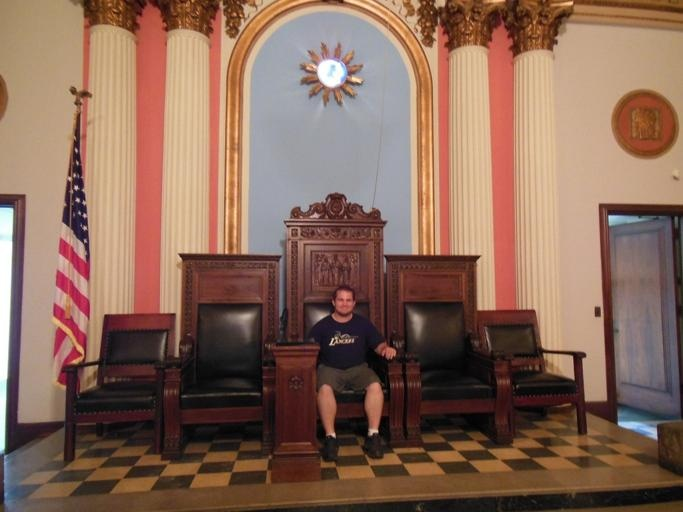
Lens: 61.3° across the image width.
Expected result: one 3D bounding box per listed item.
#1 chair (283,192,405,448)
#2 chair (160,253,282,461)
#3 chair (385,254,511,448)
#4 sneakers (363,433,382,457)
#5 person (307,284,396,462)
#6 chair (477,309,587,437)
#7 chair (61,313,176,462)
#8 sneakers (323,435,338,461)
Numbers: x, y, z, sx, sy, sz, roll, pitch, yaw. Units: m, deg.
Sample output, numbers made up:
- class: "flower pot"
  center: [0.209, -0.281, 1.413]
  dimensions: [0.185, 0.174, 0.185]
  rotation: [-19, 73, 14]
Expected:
- class: "chair"
  center: [-0.011, 0.605, 6.028]
  dimensions: [1.214, 2.489, 0.855]
  rotation: [0, -2, -10]
- class: "chair"
  center: [-1.186, 0.970, 5.879]
  dimensions: [1.082, 1.852, 1.035]
  rotation: [-1, 9, -4]
- class: "chair"
  center: [1.098, 0.910, 6.089]
  dimensions: [1.190, 1.711, 1.098]
  rotation: [-1, 9, -4]
- class: "sneakers"
  center: [0.311, 1.786, 5.585]
  dimensions: [0.198, 0.224, 0.367]
  rotation: [0, 9, 2]
- class: "person"
  center: [0.071, 1.240, 5.677]
  dimensions: [0.764, 1.240, 0.779]
  rotation: [-1, 9, -4]
- class: "chair"
  center: [1.959, 1.239, 6.183]
  dimensions: [0.815, 1.312, 0.963]
  rotation: [-2, -7, -6]
- class: "chair"
  center: [-2.200, 1.276, 5.890]
  dimensions: [0.904, 1.438, 0.985]
  rotation: [1, -9, -9]
- class: "sneakers"
  center: [-0.115, 1.806, 5.423]
  dimensions: [0.151, 0.214, 0.138]
  rotation: [0, 9, 3]
